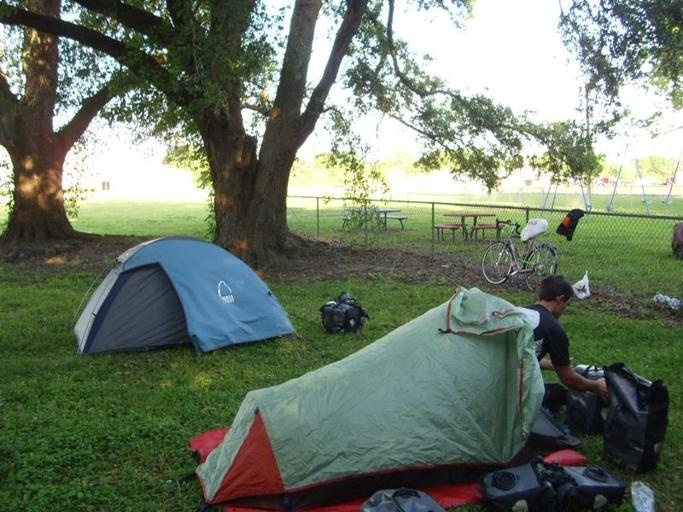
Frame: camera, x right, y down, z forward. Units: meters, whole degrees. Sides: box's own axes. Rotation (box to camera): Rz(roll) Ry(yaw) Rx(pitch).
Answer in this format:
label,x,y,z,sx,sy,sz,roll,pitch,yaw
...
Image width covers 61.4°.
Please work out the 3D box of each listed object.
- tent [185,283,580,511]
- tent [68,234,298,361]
label,x,y,z,sx,sy,sz,roll,pitch,yaw
tent,0.499,1.817,7.079,3.321,1.828,2.292,-12,9,-7
tent,-2.712,0.729,9.810,2.328,1.231,2.375,-1,0,-28
